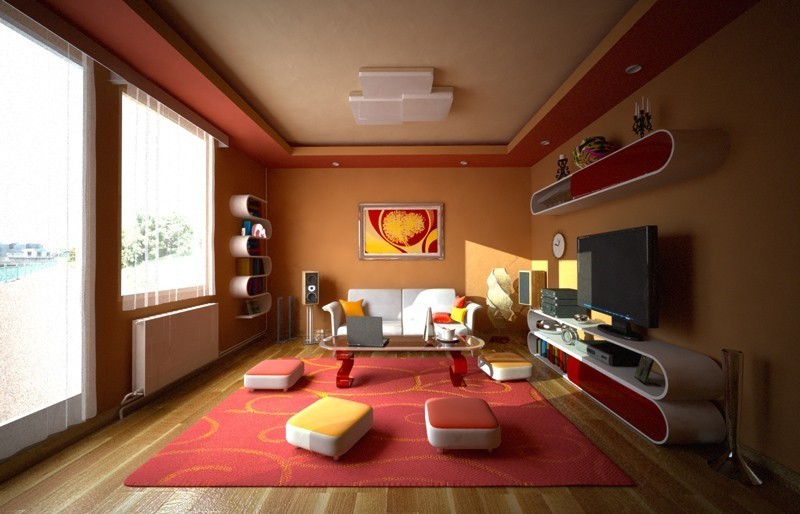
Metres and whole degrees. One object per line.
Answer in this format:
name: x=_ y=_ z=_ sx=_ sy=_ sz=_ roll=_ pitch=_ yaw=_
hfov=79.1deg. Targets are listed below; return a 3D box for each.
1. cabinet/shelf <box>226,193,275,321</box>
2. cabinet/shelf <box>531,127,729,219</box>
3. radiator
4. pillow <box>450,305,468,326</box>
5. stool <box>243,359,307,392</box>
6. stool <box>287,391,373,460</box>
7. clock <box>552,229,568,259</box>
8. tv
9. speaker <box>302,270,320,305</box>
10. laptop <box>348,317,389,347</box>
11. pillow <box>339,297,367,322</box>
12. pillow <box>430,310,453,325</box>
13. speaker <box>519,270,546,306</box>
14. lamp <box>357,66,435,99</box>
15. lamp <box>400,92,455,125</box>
cabinet/shelf: x=-2.230 y=0.028 z=7.294 sx=0.380 sy=1.916 sz=1.075 roll=-1 pitch=6 yaw=-1
cabinet/shelf: x=2.448 y=-0.926 z=5.323 sx=0.589 sy=0.764 sz=1.938 roll=-3 pitch=7 yaw=-19
radiator: x=-2.594 y=1.044 z=5.479 sx=0.151 sy=0.671 sz=1.136 roll=0 pitch=0 yaw=13
pillow: x=0.861 y=0.838 z=7.027 sx=0.086 sy=0.169 sz=0.241 roll=9 pitch=-6 yaw=-26
stool: x=-1.443 y=1.321 z=5.511 sx=0.358 sy=0.150 sz=0.462 roll=0 pitch=4 yaw=1
stool: x=-0.695 y=1.516 z=4.425 sx=0.510 sy=0.214 sz=0.548 roll=2 pitch=5 yaw=24
clock: x=2.291 y=-0.197 z=6.878 sx=0.158 sy=0.373 sz=0.392 roll=2 pitch=-6 yaw=-5
tv: x=2.334 y=0.262 z=5.136 sx=0.393 sy=1.100 sz=1.309 roll=2 pitch=-3 yaw=-8
speaker: x=-1.399 y=0.452 z=7.545 sx=0.242 sy=0.489 sz=0.379 roll=-2 pitch=6 yaw=-12
laptop: x=-0.402 y=0.795 z=5.627 sx=0.434 sy=0.317 sz=0.342 roll=0 pitch=-1 yaw=5
pillow: x=-0.710 y=0.769 z=7.361 sx=0.326 sy=0.245 sz=0.440 roll=2 pitch=7 yaw=19
pillow: x=0.629 y=0.879 z=7.170 sx=0.287 sy=0.106 sz=0.303 roll=0 pitch=6 yaw=2
speaker: x=1.948 y=0.448 z=7.150 sx=0.369 sy=0.510 sz=0.253 roll=2 pitch=7 yaw=19
lamp: x=-0.027 y=-1.977 z=5.481 sx=0.844 sy=0.234 sz=0.428 roll=0 pitch=6 yaw=1
lamp: x=0.331 y=-1.851 z=5.955 sx=0.655 sy=0.232 sz=0.651 roll=0 pitch=6 yaw=1
